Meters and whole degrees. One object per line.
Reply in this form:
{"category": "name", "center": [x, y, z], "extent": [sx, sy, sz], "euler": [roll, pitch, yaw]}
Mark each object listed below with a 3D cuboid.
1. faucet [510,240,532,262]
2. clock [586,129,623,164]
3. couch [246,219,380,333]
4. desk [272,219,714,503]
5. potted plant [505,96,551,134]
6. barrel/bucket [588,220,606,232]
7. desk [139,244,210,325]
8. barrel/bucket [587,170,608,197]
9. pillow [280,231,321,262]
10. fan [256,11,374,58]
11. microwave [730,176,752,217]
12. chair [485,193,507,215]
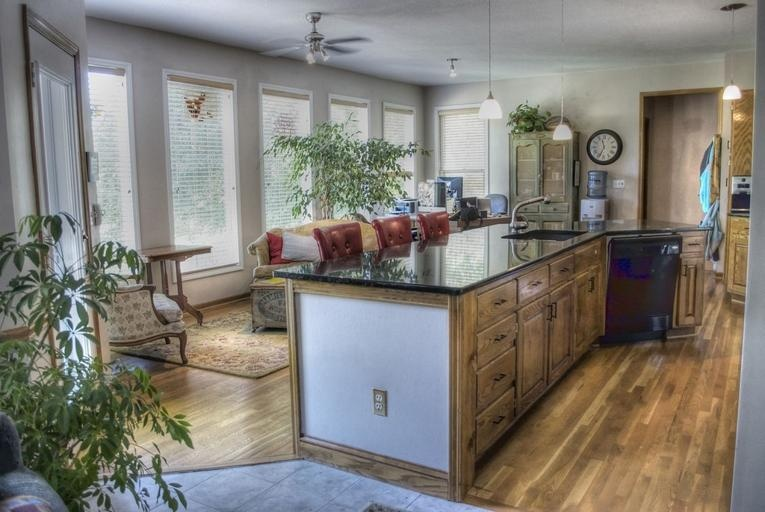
{"category": "faucet", "center": [0.972, -0.030, 3.830], "extent": [0.169, 0.175, 0.103], "euler": [14, 22, 40]}
{"category": "clock", "center": [3.474, -1.696, 8.490], "extent": [0.584, 0.603, 0.096], "euler": [1, 4, 41]}
{"category": "couch", "center": [-0.691, 0.191, 5.981], "extent": [1.370, 1.115, 1.101], "euler": [0, 8, 7]}
{"category": "desk", "center": [0.740, 0.491, 4.013], "extent": [1.169, 1.165, 2.870], "euler": [11, 18, 41]}
{"category": "potted plant", "center": [2.343, -2.179, 8.796], "extent": [0.580, 0.378, 0.586], "euler": [-1, 1, 40]}
{"category": "barrel/bucket", "center": [2.010, -0.274, 5.126], "extent": [0.162, 0.093, 0.154], "euler": [-2, -3, 0]}
{"category": "desk", "center": [-2.347, 0.325, 6.006], "extent": [1.055, 0.771, 0.996], "euler": [-6, 6, -17]}
{"category": "barrel/bucket", "center": [3.337, -1.115, 8.464], "extent": [0.313, 0.403, 0.287], "euler": [-1, 14, 0]}
{"category": "pillow", "center": [-0.829, -0.114, 5.912], "extent": [0.475, 0.445, 0.183], "euler": [-3, -9, -3]}
{"category": "fan", "center": [-0.748, -2.436, 5.995], "extent": [0.624, 0.253, 0.682], "euler": [-2, 2, 41]}
{"category": "microwave", "center": [4.168, -0.710, 6.393], "extent": [0.173, 0.436, 0.374], "euler": [6, 16, 25]}
{"category": "chair", "center": [1.825, -0.817, 8.754], "extent": [0.445, 0.410, 0.249], "euler": [2, 10, 31]}
